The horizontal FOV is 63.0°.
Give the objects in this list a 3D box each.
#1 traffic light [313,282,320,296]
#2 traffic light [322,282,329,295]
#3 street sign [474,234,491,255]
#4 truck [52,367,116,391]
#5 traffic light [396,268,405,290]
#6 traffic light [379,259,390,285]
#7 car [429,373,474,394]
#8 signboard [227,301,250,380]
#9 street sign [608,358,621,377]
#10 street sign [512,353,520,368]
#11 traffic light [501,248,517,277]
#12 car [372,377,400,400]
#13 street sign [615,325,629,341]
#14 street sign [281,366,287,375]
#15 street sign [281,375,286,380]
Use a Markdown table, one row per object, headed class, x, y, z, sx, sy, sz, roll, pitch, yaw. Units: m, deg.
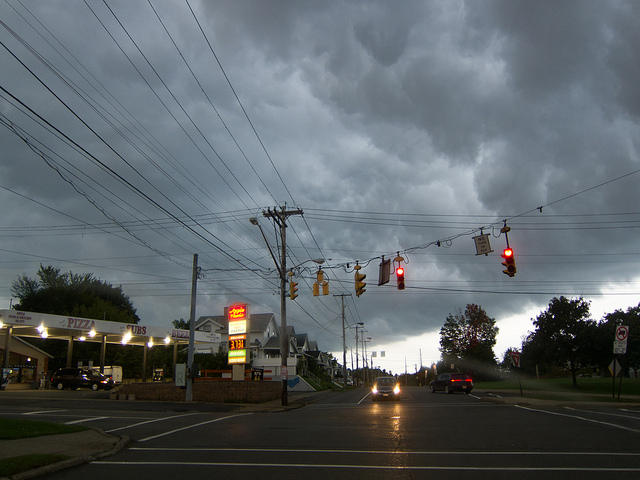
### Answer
| class | x | y | z | sx | sy | sz | roll | pitch | yaw |
| --- | --- | --- | --- | --- | --- | --- | --- | --- | --- |
| traffic light | -0.260 | 3.210 | 33.171 | 0.226 | 0.836 | 0.730 | 3 | -17 | -9 |
| traffic light | 0.363 | 2.998 | 32.166 | 0.220 | 0.756 | 0.487 | -3 | -17 | 10 |
| street sign | 7.577 | 0.241 | 24.140 | 0.756 | 0.922 | 0.125 | -27 | -31 | 38 |
| truck | -21.272 | 12.373 | 46.429 | 4.625 | 1.839 | 2.400 | -4 | -12 | 5 |
| traffic light | 4.541 | 2.171 | 29.383 | 0.313 | 1.206 | 0.355 | -4 | -17 | 14 |
| traffic light | 3.413 | 1.686 | 27.267 | 0.202 | 1.348 | 1.525 | 12 | -27 | -15 |
| car | 11.142 | 12.196 | 45.040 | 1.705 | 1.361 | 3.928 | 4 | -14 | -16 |
| signboard | -6.619 | 8.358 | 42.367 | 1.838 | 6.622 | 0.658 | -6 | -11 | 19 |
| street sign | 19.627 | 8.479 | 34.582 | 0.669 | 0.978 | 0.812 | -9 | -19 | 29 |
| street sign | 14.520 | 8.859 | 38.494 | 0.384 | 0.778 | 1.398 | -7 | -19 | 22 |
| traffic light | 9.470 | 1.145 | 26.048 | 0.485 | 1.434 | 0.622 | -7 | -18 | 23 |
| car | 4.694 | 10.574 | 37.191 | 1.887 | 1.561 | 2.378 | -2 | -18 | 5 |
| street sign | 19.420 | 5.978 | 33.444 | 0.716 | 0.975 | 0.536 | -14 | -22 | 39 |
| street sign | -2.472 | 8.703 | 34.839 | 0.486 | 0.528 | 0.298 | -10 | -19 | 30 |
| street sign | -2.455 | 9.207 | 35.032 | 0.302 | 0.273 | 0.617 | 1 | -18 | -2 |
